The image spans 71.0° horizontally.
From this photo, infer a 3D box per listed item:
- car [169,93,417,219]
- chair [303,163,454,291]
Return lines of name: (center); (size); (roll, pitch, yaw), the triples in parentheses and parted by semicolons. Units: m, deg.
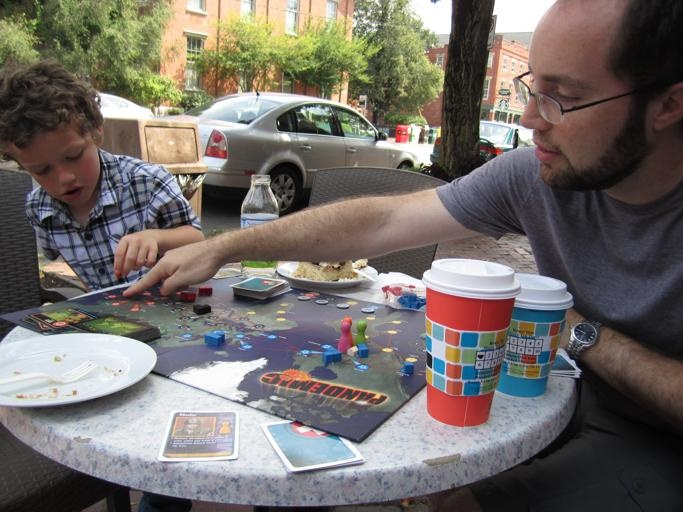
car: (-0.549, -1.803, 7.748); (3.922, 1.181, 1.587); (-15, 22, -40)
chair: (0.163, -0.223, 2.875); (0.618, 0.941, 0.712); (0, 4, 5)
